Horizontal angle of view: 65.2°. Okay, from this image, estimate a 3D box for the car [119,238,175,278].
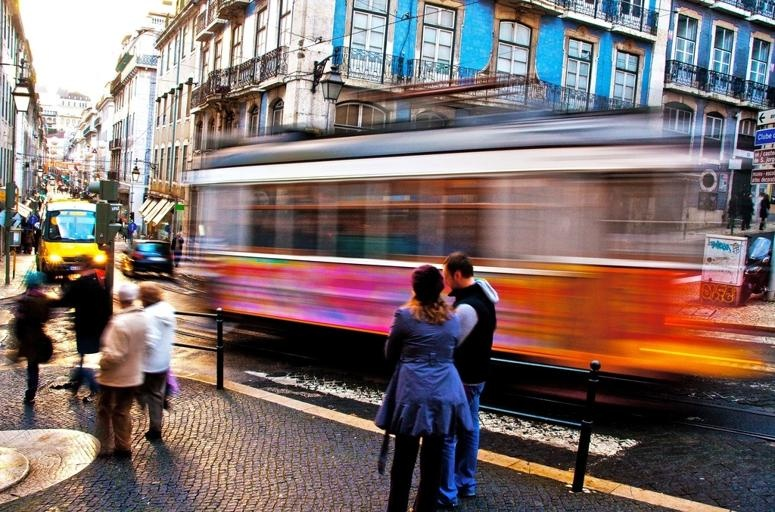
[{"bbox_3d":[-10.592,0.049,26.419,1.595,1.128,2.797,-2,8,-28],"label":"car"}]
